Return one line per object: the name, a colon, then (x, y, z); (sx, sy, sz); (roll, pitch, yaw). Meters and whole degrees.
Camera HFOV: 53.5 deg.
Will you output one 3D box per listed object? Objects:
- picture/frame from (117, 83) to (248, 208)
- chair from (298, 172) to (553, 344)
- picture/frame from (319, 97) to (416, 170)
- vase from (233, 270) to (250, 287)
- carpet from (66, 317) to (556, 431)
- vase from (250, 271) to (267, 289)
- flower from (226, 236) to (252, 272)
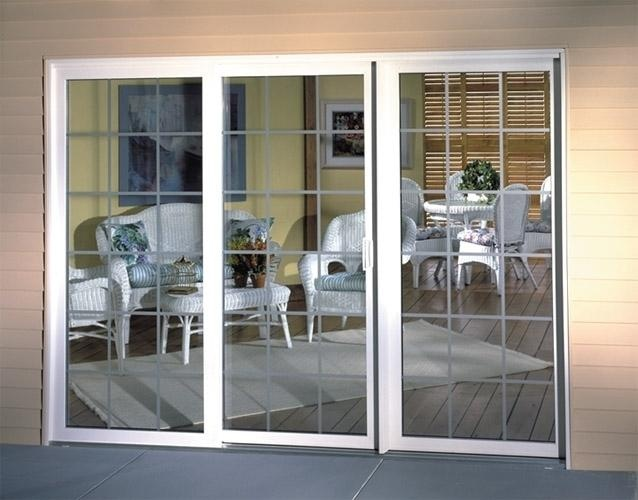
picture/frame: (-0.798, -0.668, 3.854); (0.801, 0.731, 0.034); (0, 0, -2)
chair: (0.823, 0.054, 4.143); (0.966, 0.754, 1.243); (0, 0, 9)
picture/frame: (0.310, -0.704, 3.763); (0.455, 0.347, 0.032); (1, 6, 8)
vase: (-0.475, 0.183, 3.886); (0.090, 0.063, 0.088); (0, 0, 8)
carpet: (0.084, 0.755, 3.820); (1.937, 0.632, 0.033); (-4, 3, 9)
vase: (-0.373, 0.186, 3.841); (0.095, 0.068, 0.091); (-1, -5, 5)
flower: (-0.492, 0.026, 3.879); (0.166, 0.200, 0.089); (-2, 9, 5)
